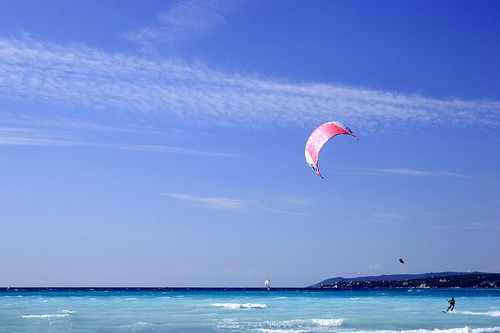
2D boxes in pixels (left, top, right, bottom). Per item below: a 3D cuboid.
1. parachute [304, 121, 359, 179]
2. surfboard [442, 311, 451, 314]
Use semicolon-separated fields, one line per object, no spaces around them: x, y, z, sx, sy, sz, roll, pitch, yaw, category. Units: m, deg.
8.370;-2.878;71.691;5.182;5.750;2.258;27;-1;39;parachute
31.732;23.284;102.165;1.287;0.384;1.561;-4;-16;15;surfboard
